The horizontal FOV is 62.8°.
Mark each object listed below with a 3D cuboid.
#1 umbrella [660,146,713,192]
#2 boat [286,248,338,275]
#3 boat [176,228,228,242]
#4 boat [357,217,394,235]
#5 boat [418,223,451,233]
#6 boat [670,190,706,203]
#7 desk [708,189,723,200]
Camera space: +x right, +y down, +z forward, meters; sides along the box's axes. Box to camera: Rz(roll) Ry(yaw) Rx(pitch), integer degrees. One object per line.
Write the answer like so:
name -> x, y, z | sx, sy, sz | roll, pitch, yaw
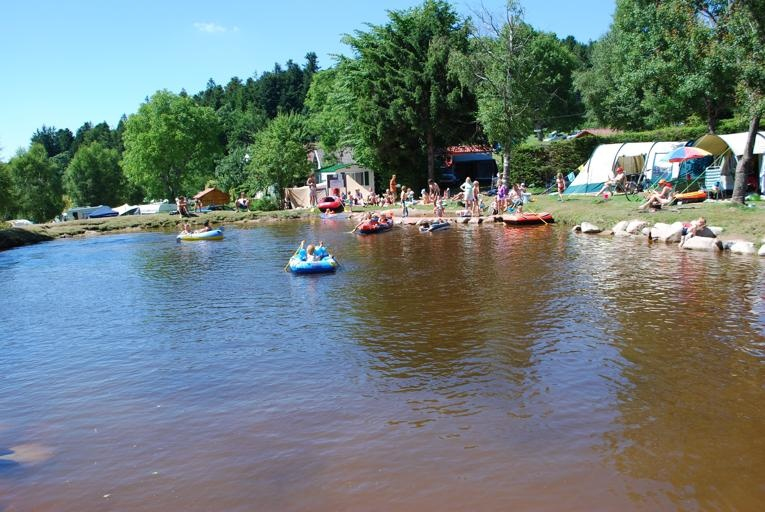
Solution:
umbrella -> 21.419, -6.626, 43.912 | 2.958, 2.378, 4.293 | 2, 8, 27
boat -> -3.709, 0.274, 33.247 | 2.380, 1.166, 1.423 | 2, 8, 26
boat -> -14.712, -1.754, 51.137 | 3.077, 0.891, 1.527 | -5, 3, 23
boat -> -0.561, -2.453, 48.845 | 2.723, 1.208, 2.112 | -3, 7, -14
boat -> 3.994, -2.317, 47.854 | 1.319, 0.642, 2.960 | 4, 9, 37
boat -> 20.762, -4.001, 42.062 | 1.791, 0.689, 1.142 | -1, 4, 16
desk -> 22.844, -4.285, 42.897 | 0.731, 0.326, 1.007 | 0, -4, 2
